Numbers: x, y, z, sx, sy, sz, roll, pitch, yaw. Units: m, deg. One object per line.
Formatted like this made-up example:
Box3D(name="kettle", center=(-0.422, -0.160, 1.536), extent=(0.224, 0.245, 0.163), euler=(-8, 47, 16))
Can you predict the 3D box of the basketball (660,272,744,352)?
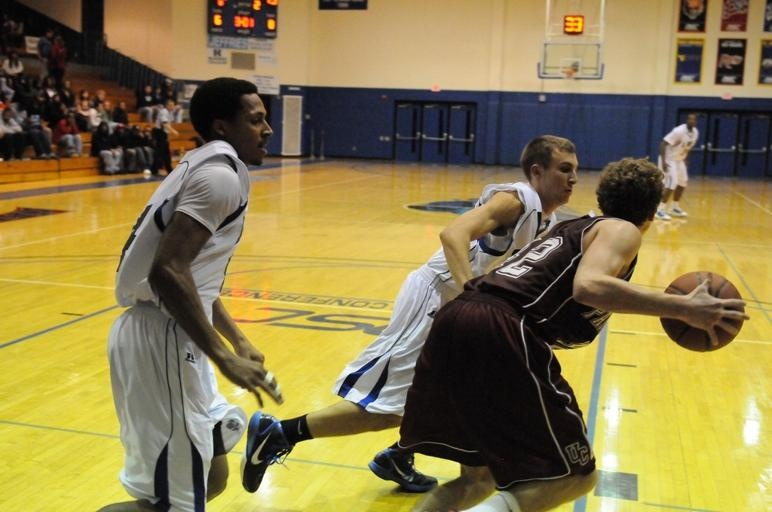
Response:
Box3D(name="basketball", center=(1.212, 0.227, 2.227), extent=(0.332, 0.328, 0.323), euler=(-2, 4, -3))
